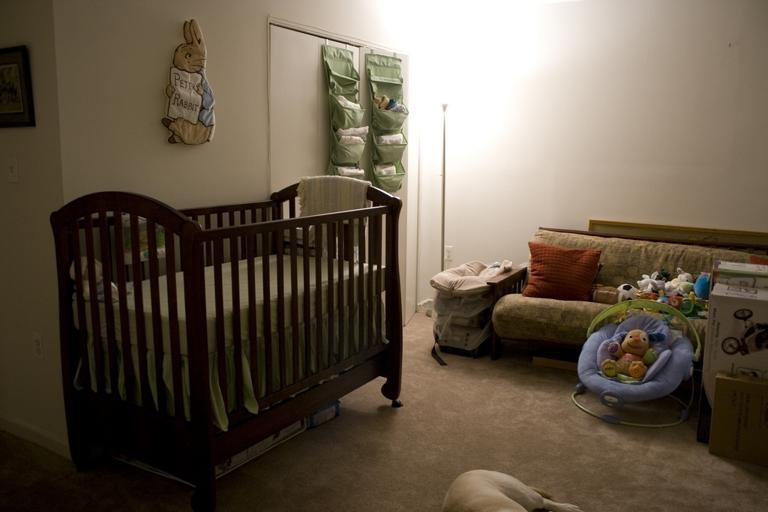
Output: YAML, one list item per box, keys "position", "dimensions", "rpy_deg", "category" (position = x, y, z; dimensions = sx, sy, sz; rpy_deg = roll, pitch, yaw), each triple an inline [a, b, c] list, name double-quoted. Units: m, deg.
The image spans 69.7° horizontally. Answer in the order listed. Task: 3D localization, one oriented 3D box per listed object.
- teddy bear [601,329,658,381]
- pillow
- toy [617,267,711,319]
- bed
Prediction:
- position: [1.632, 0.658, 3.634]
  dimensions: [0.238, 0.153, 0.263]
  rpy_deg: [9, 57, 31]
  category: "teddy bear"
- position: [1.482, 0.120, 4.496]
  dimensions: [0.400, 0.326, 0.184]
  rpy_deg: [10, -3, 18]
  category: "pillow"
- position: [2.113, 0.241, 4.164]
  dimensions: [0.639, 0.267, 0.515]
  rpy_deg: [11, 18, 35]
  category: "toy"
- position: [-0.839, 0.306, 3.710]
  dimensions: [1.388, 1.637, 2.100]
  rpy_deg: [3, 7, 30]
  category: "bed"
